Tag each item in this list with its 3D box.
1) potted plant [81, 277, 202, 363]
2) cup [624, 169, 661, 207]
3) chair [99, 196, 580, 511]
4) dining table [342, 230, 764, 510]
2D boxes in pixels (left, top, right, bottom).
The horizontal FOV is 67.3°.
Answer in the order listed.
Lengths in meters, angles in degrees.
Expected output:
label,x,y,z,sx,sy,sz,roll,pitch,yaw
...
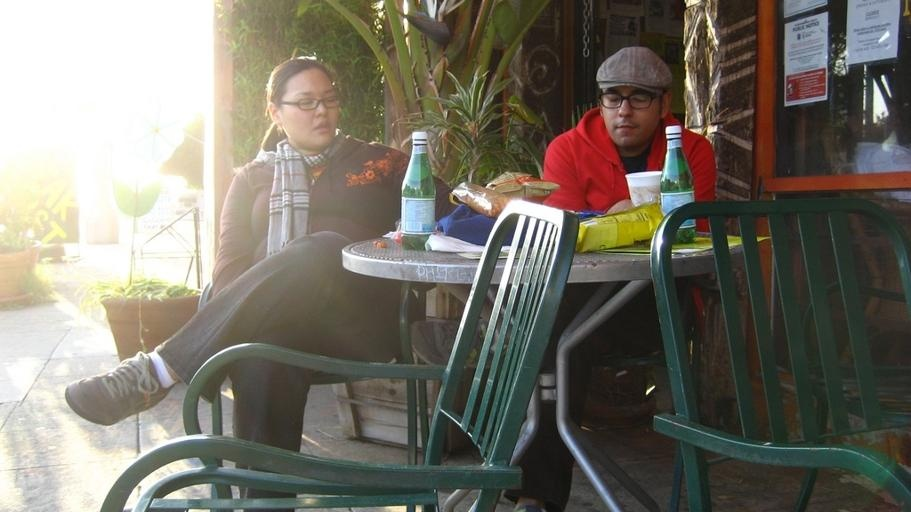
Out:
label,x,y,z,sx,sy,sz,roll,pitch,yaw
potted plant,-2.436,0.426,5.347,0.703,0.525,0.728,3,0,35
cup,0.940,-0.337,3.403,0.163,0.138,0.175,-2,-3,0
chair,-0.450,0.384,3.198,1.866,1.419,1.130,5,5,6
dining table,0.190,0.363,3.659,1.493,1.012,1.520,-1,-3,-13
